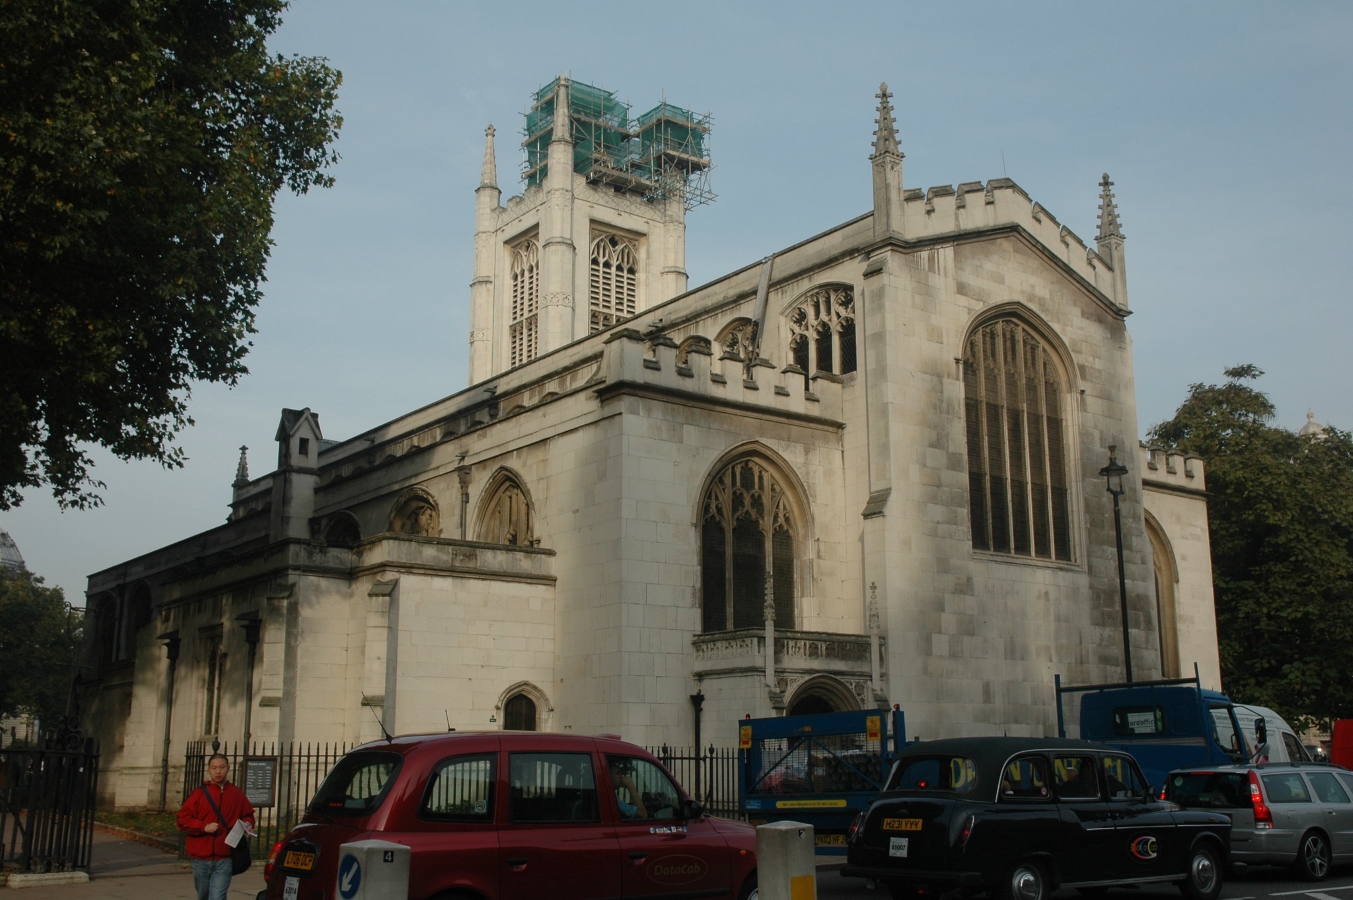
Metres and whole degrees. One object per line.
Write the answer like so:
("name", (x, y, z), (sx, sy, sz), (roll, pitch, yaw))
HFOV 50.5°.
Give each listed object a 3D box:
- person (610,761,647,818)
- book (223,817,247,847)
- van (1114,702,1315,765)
("person", (-0.845, 5.676, 23.832), (0.517, 0.936, 0.224), (-1, -11, -29))
("book", (-7.665, 6.648, 24.775), (0.338, 0.440, 0.046), (38, -25, -3))
("van", (14.348, 7.486, 37.740), (4.825, 2.376, 2.112), (7, -18, -28))
